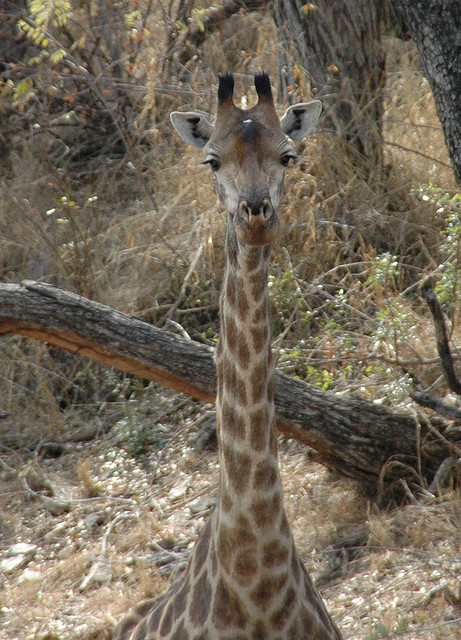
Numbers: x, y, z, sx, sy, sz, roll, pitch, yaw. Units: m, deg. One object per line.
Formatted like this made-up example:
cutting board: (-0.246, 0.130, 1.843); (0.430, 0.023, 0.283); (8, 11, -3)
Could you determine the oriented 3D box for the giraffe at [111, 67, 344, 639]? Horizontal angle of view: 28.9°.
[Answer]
giraffe: (0.052, 0.331, 3.776); (0.691, 2.469, 0.898); (9, 26, 37)
